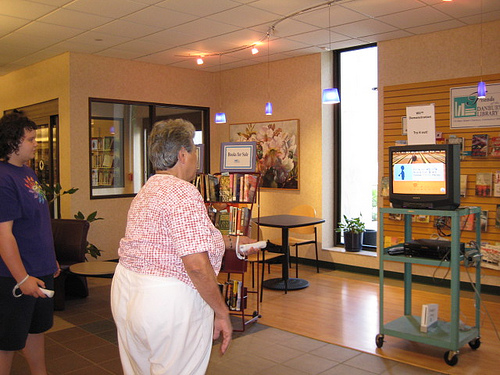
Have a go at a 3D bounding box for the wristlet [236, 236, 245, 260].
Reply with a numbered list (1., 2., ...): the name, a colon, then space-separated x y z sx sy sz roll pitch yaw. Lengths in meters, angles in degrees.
1. wristlet: -0.076 0.411 2.627 0.040 0.131 0.099 0 -5 -6

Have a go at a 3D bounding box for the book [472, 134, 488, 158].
1. book: 3.351 -0.602 5.759 0.192 0.347 0.071 1 4 26

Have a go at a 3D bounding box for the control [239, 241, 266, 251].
1. control: 0.021 0.399 2.702 0.062 0.052 0.216 -12 -8 39

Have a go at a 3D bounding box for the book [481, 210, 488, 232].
1. book: 3.400 0.497 5.716 0.083 0.318 0.035 1 5 30

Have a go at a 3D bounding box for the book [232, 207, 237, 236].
1. book: -0.183 0.401 4.720 0.057 0.322 0.083 0 4 13

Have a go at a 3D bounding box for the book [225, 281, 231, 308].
1. book: -0.261 1.284 4.727 0.074 0.258 0.108 -1 4 -4

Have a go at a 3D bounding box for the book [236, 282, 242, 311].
1. book: -0.127 1.292 4.671 0.072 0.329 0.030 -2 4 -13

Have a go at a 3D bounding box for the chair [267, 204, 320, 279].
1. chair: 0.749 0.967 6.954 0.738 1.162 0.787 -1 -1 33

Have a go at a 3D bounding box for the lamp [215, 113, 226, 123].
1. lamp: -0.600 -1.351 7.773 0.204 0.174 0.206 0 -1 42

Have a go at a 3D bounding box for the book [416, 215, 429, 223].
1. book: 2.676 0.493 6.101 0.221 0.187 0.031 -3 -4 38

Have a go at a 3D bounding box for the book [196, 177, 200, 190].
1. book: -0.680 -0.051 5.164 0.034 0.158 0.110 -2 4 -17

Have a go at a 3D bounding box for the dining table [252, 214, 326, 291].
1. dining table: 0.573 1.057 6.342 1.201 0.920 1.200 -5 -10 25

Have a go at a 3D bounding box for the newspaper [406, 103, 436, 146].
1. newspaper: 1.758 -0.629 4.064 0.267 0.406 0.165 1 4 24

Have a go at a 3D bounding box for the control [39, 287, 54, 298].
1. control: -1.342 0.695 2.616 0.097 0.037 0.036 21 -2 12

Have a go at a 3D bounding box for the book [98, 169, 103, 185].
1. book: -2.827 -0.190 7.462 0.038 0.287 0.107 2 5 31

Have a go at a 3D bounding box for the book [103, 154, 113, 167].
1. book: -2.732 -0.499 7.592 0.039 0.226 0.207 2 5 34

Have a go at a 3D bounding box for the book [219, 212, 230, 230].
1. book: -0.311 0.416 4.759 0.167 0.168 0.039 -5 -5 28

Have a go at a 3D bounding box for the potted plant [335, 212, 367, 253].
1. potted plant: 1.984 0.829 7.331 0.600 0.629 0.522 -3 3 -21

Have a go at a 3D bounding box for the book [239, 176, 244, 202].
1. book: -0.101 0.029 4.785 0.057 0.294 0.053 0 4 15

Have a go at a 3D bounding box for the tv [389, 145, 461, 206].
1. tv: 1.680 -0.096 4.185 0.769 0.664 0.406 0 -1 -7

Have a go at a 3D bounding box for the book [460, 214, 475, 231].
1. book: 3.183 0.531 5.786 0.173 0.241 0.364 1 4 30

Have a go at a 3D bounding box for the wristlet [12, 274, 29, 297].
1. wristlet: -1.527 0.657 2.600 0.037 0.144 0.111 41 -10 -4

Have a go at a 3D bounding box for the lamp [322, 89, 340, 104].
1. lamp: 1.148 -1.283 5.662 0.216 0.144 0.215 -1 0 -1

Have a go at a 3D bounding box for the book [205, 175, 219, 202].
1. book: -0.472 0.019 4.915 0.066 0.277 0.264 -5 -4 6

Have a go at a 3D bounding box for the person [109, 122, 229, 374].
1. person: -0.427 0.317 2.049 0.612 1.333 0.354 -2 4 -12

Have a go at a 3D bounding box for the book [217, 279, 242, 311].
1. book: -0.312 1.334 4.819 0.264 0.334 0.353 16 -21 -40

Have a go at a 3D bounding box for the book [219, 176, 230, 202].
1. book: -0.313 0.024 4.882 0.155 0.313 0.090 0 4 11

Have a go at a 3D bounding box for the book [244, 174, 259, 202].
1. book: 0.013 0.014 4.755 0.170 0.323 0.083 -1 4 -1

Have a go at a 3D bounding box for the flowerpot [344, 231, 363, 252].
1. flowerpot: 1.873 0.978 7.141 0.348 0.327 0.342 -1 -1 2

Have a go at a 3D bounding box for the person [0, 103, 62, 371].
1. person: -1.546 0.379 2.748 0.331 1.847 0.426 -2 4 -23

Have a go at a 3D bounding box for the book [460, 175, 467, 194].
1. book: 3.191 -0.037 5.882 0.073 0.278 0.050 1 4 28
